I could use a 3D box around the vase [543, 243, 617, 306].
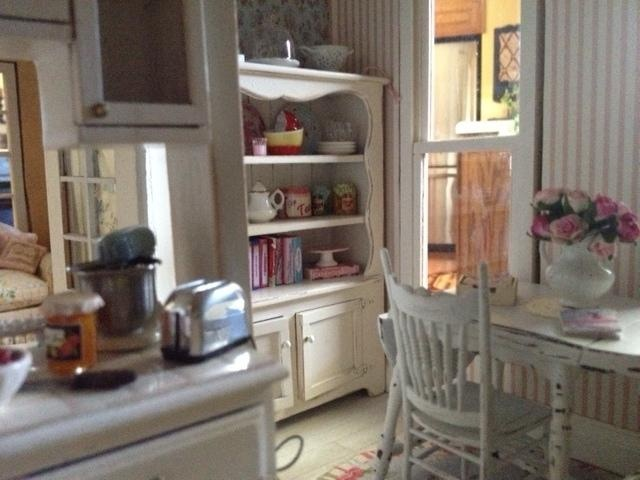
[{"bbox_3d":[1.025,0.118,2.389,0.256,0.319,0.297,-1,-3,-29],"label":"vase"}]

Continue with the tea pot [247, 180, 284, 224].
[{"bbox_3d":[-0.311,-0.211,3.127,0.233,0.220,0.166,-4,3,-36],"label":"tea pot"}]

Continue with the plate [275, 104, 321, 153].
[{"bbox_3d":[-0.095,-0.665,3.376,0.253,0.285,0.073,-9,10,-30],"label":"plate"}]

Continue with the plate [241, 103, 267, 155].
[{"bbox_3d":[-0.360,-0.600,3.096,0.189,0.267,0.084,-8,3,-44],"label":"plate"}]

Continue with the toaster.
[{"bbox_3d":[-0.299,0.200,1.460,0.236,0.159,0.220,-8,5,-34],"label":"toaster"}]

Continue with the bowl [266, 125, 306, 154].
[{"bbox_3d":[-0.171,-0.536,3.073,0.160,0.108,0.156,0,3,0],"label":"bowl"}]

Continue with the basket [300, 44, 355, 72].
[{"bbox_3d":[0.034,-1.066,3.290,0.327,0.167,0.329,2,14,-1],"label":"basket"}]

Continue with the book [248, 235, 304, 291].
[{"bbox_3d":[-0.240,0.113,3.117,0.260,0.336,0.340,-1,-1,-35],"label":"book"}]

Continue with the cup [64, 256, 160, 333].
[{"bbox_3d":[-0.512,0.131,1.447,0.189,0.159,0.194,-2,1,0],"label":"cup"}]

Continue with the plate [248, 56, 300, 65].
[{"bbox_3d":[-0.226,-0.923,2.929,0.274,0.044,0.173,-1,14,-16],"label":"plate"}]

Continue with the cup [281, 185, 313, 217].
[{"bbox_3d":[-0.117,-0.222,3.185,0.161,0.149,0.163,-1,2,0],"label":"cup"}]

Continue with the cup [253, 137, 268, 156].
[{"bbox_3d":[-0.311,-0.485,2.940,0.074,0.083,0.056,-3,15,-22],"label":"cup"}]
